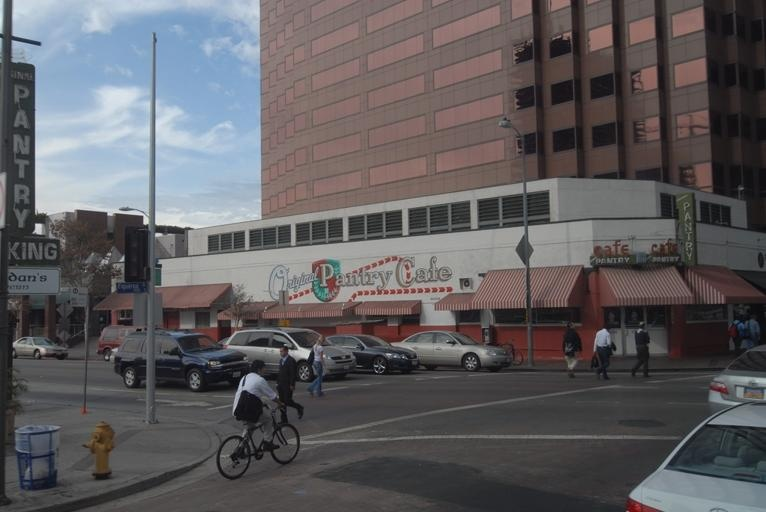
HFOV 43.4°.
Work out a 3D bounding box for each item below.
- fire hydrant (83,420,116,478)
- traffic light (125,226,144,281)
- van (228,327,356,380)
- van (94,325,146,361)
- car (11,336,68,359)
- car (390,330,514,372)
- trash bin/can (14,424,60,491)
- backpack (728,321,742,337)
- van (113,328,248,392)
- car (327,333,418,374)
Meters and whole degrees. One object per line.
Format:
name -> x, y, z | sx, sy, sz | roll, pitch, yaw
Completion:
fire hydrant -> -9.209, 6.274, 31.212 | 0.746, 1.802, 0.391 | 0, -6, -7
traffic light -> -9.260, -0.079, 35.966 | 0.808, 1.995, 0.396 | 1, -6, -15
van -> -4.594, 4.555, 45.872 | 7.056, 2.286, 2.852 | -2, -1, 41
van -> -16.490, 5.598, 62.672 | 4.001, 2.226, 2.175 | -5, -9, 33
car -> -24.158, 6.382, 67.312 | 4.627, 1.599, 1.770 | -6, -9, 39
car -> 3.608, 4.740, 48.279 | 5.783, 1.906, 2.237 | -3, -4, 36
trash bin/can -> -11.142, 6.423, 31.090 | 1.433, 1.852, 1.394 | 0, -3, -7
backpack -> 18.242, 3.713, 49.550 | 0.494, 0.939, 0.830 | -2, -7, 16
van -> -9.502, 4.776, 44.679 | 6.572, 2.514, 3.110 | -1, 0, 29
car -> -0.349, 4.744, 47.493 | 4.990, 1.803, 2.049 | -3, -4, 32
